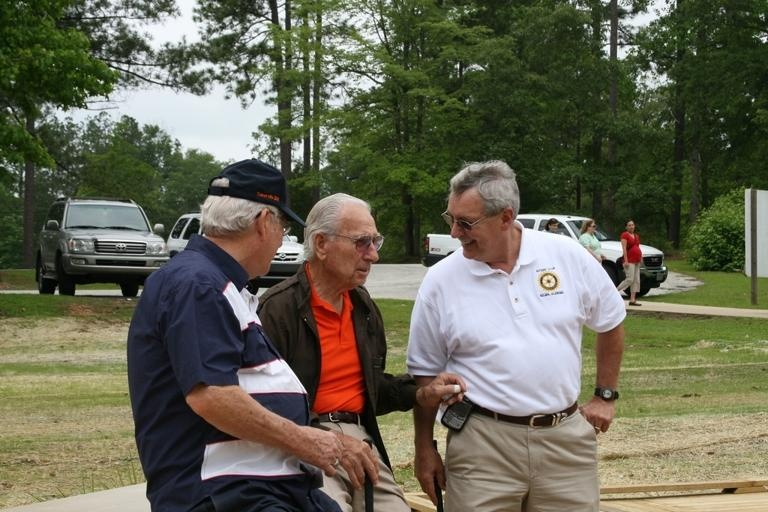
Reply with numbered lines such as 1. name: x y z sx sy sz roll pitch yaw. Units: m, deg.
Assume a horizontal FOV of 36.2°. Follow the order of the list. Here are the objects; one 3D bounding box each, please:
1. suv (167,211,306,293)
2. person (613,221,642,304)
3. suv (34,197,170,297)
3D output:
1. suv: -4.397 -0.214 37.161 2.896 2.128 5.070 0 -2 -44
2. person: 7.481 0.195 35.852 1.031 2.455 1.042 -1 -2 41
3. suv: -8.339 -0.404 34.426 2.965 2.210 4.907 2 -6 -29
